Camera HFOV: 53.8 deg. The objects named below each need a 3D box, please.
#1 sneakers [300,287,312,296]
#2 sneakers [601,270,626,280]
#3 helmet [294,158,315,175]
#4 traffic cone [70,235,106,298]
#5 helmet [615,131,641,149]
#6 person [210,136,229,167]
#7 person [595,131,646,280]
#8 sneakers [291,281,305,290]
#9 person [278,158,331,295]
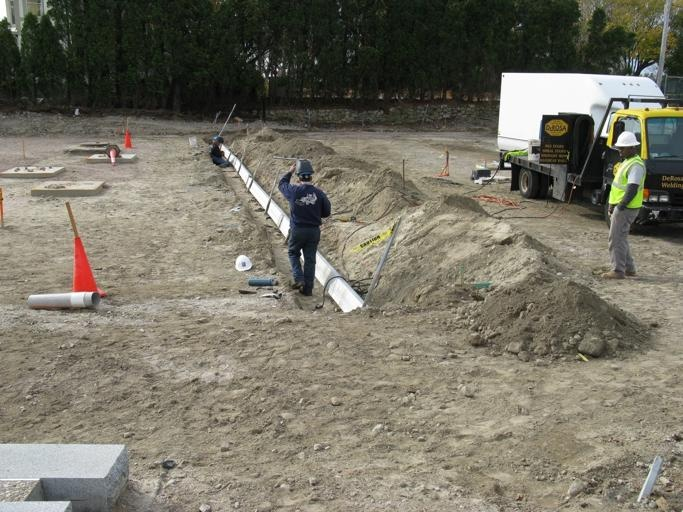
[{"bbox_3d":[-0.586,0.580,10.972,0.105,0.176,0.176,4,23,13],"label":"sneakers"},{"bbox_3d":[4.400,0.316,10.910,0.275,0.113,0.159,6,6,14],"label":"sneakers"},{"bbox_3d":[-0.638,-1.440,11.068,0.280,0.246,0.378,-4,16,-4],"label":"helmet"},{"bbox_3d":[-3.883,0.164,10.137,0.448,0.965,1.136,-9,17,-21],"label":"traffic cone"},{"bbox_3d":[4.643,-1.846,10.892,0.449,0.286,0.549,10,18,39],"label":"helmet"},{"bbox_3d":[-4.227,-3.521,22.993,0.762,1.098,0.601,-7,23,-40],"label":"person"},{"bbox_3d":[4.535,-0.785,10.783,0.489,2.300,0.652,5,17,25],"label":"person"},{"bbox_3d":[-0.733,0.481,11.047,0.219,0.159,0.255,-4,16,-5],"label":"sneakers"},{"bbox_3d":[-0.599,-0.463,11.108,0.795,2.158,0.970,-4,16,-5],"label":"person"}]
